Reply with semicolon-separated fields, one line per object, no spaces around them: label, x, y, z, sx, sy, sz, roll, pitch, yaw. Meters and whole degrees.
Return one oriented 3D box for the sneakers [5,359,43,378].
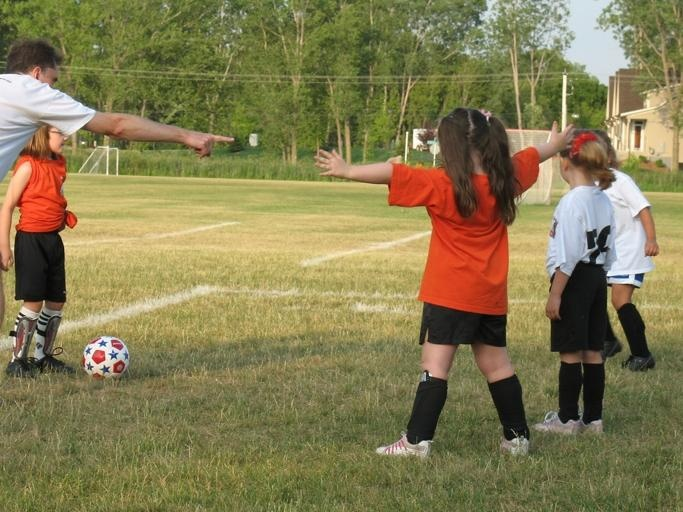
sneakers;-2.742;0.972;9.300;0.295;0.142;0.217;1;4;-16

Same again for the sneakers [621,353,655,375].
sneakers;2.710;0.987;9.839;0.281;0.106;0.127;-2;-2;7

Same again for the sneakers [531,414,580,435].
sneakers;1.715;1.351;8.609;0.400;0.145;0.141;1;-7;20

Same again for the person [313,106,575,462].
person;0.831;0.191;8.181;1.533;2.629;0.498;2;4;-5

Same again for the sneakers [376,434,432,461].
sneakers;0.476;1.446;8.044;0.449;0.177;0.158;1;-11;6
